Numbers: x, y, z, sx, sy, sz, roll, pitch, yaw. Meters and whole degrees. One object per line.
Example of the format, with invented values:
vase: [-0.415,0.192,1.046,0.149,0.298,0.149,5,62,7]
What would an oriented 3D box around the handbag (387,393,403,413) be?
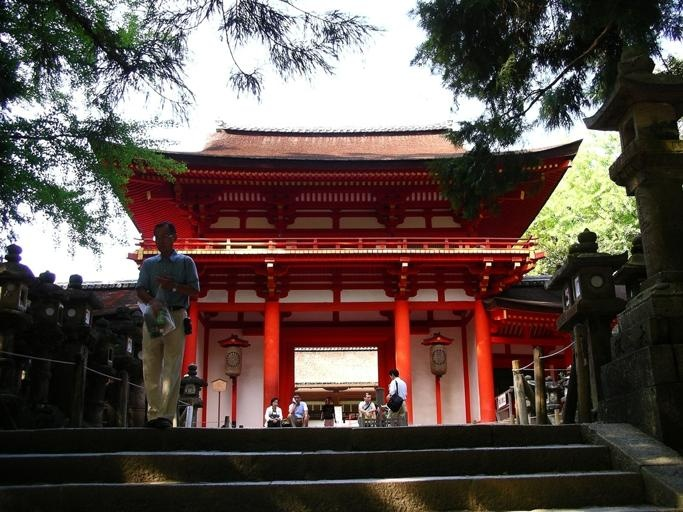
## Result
handbag: [0.817,2.250,10.451,0.165,0.301,0.221,31,-22,-4]

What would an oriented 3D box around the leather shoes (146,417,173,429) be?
leather shoes: [-1.583,1.458,5.946,0.269,0.091,0.108,-7,18,25]

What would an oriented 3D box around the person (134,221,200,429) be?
person: [-1.569,0.617,6.212,0.548,1.793,0.900,-4,11,-17]
